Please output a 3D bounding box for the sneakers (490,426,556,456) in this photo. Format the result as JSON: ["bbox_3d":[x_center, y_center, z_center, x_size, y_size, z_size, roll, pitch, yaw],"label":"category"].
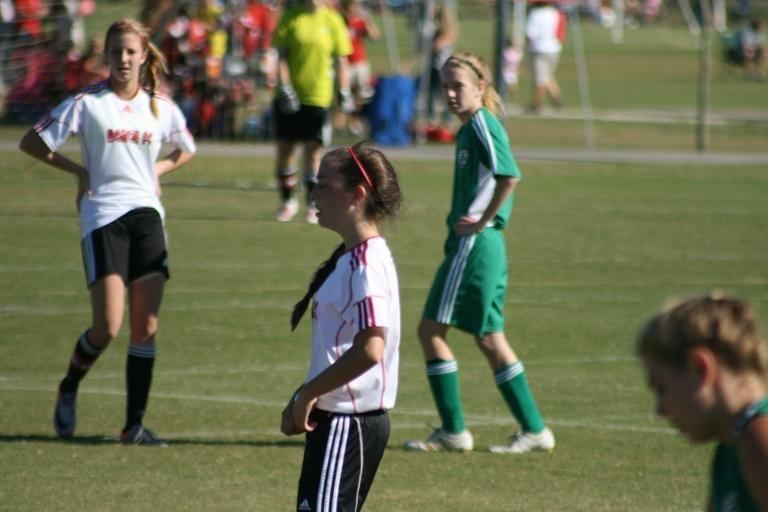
[{"bbox_3d":[1.215,1.599,13.141,0.585,0.201,0.210,-1,-2,-1],"label":"sneakers"}]

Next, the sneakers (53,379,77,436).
[{"bbox_3d":[-2.718,1.297,13.102,0.177,0.452,0.204,-1,2,-12],"label":"sneakers"}]

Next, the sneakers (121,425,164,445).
[{"bbox_3d":[-2.052,1.518,13.061,0.328,0.114,0.169,2,-1,2],"label":"sneakers"}]

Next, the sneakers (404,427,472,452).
[{"bbox_3d":[0.489,1.563,13.160,0.603,0.194,0.204,2,-4,1],"label":"sneakers"}]

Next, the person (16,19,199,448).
[{"bbox_3d":[-2.301,-0.240,13.167,1.169,3.514,1.218,0,12,-8],"label":"person"}]
